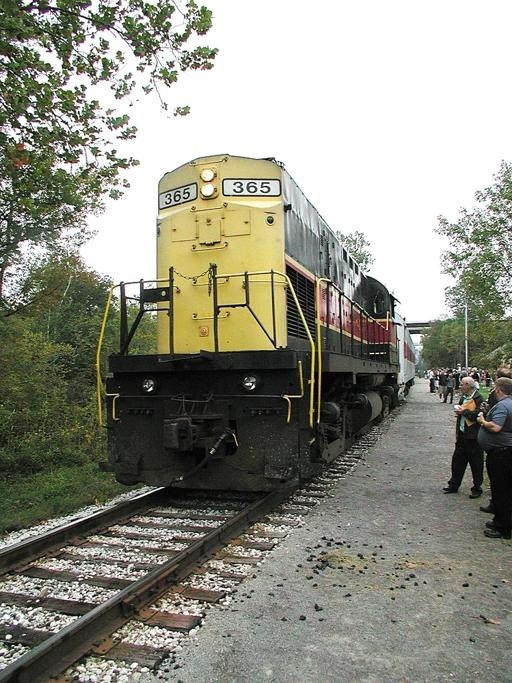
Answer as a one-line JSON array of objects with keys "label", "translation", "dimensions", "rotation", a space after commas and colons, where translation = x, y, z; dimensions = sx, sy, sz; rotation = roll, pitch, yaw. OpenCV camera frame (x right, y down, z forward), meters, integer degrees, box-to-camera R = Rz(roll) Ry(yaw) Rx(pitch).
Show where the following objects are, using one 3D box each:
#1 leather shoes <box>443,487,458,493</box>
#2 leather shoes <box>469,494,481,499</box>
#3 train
[{"label": "leather shoes", "translation": [2.654, 1.999, 7.086], "dimensions": [0.214, 0.084, 0.074], "rotation": [7, -8, -4]}, {"label": "leather shoes", "translation": [2.823, 1.992, 6.757], "dimensions": [0.050, 0.055, 0.140], "rotation": [-11, -22, 39]}, {"label": "train", "translation": [0.492, -0.135, 8.241], "dimensions": [2.447, 4.242, 6.203], "rotation": [-1, -3, 24]}]
